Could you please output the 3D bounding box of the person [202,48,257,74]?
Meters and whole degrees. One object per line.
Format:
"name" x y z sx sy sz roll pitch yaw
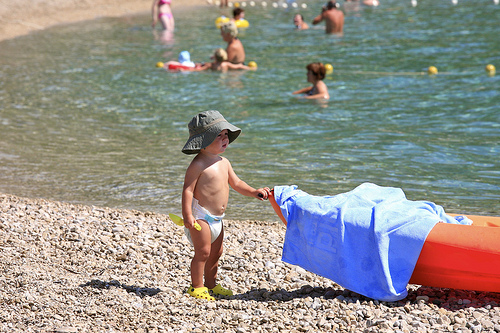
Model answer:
"person" -0.690 -3.045 29.311 1.453 0.711 0.387 -7 23 -7

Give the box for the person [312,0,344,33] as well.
"person" 2.537 -4.906 33.116 0.863 1.115 0.684 4 25 23

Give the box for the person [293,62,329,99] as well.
"person" 1.822 -2.422 28.466 0.574 1.170 0.857 -20 26 -27

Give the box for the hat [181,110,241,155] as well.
"hat" -1.031 -0.768 22.257 1.204 0.606 1.035 -29 0 24
